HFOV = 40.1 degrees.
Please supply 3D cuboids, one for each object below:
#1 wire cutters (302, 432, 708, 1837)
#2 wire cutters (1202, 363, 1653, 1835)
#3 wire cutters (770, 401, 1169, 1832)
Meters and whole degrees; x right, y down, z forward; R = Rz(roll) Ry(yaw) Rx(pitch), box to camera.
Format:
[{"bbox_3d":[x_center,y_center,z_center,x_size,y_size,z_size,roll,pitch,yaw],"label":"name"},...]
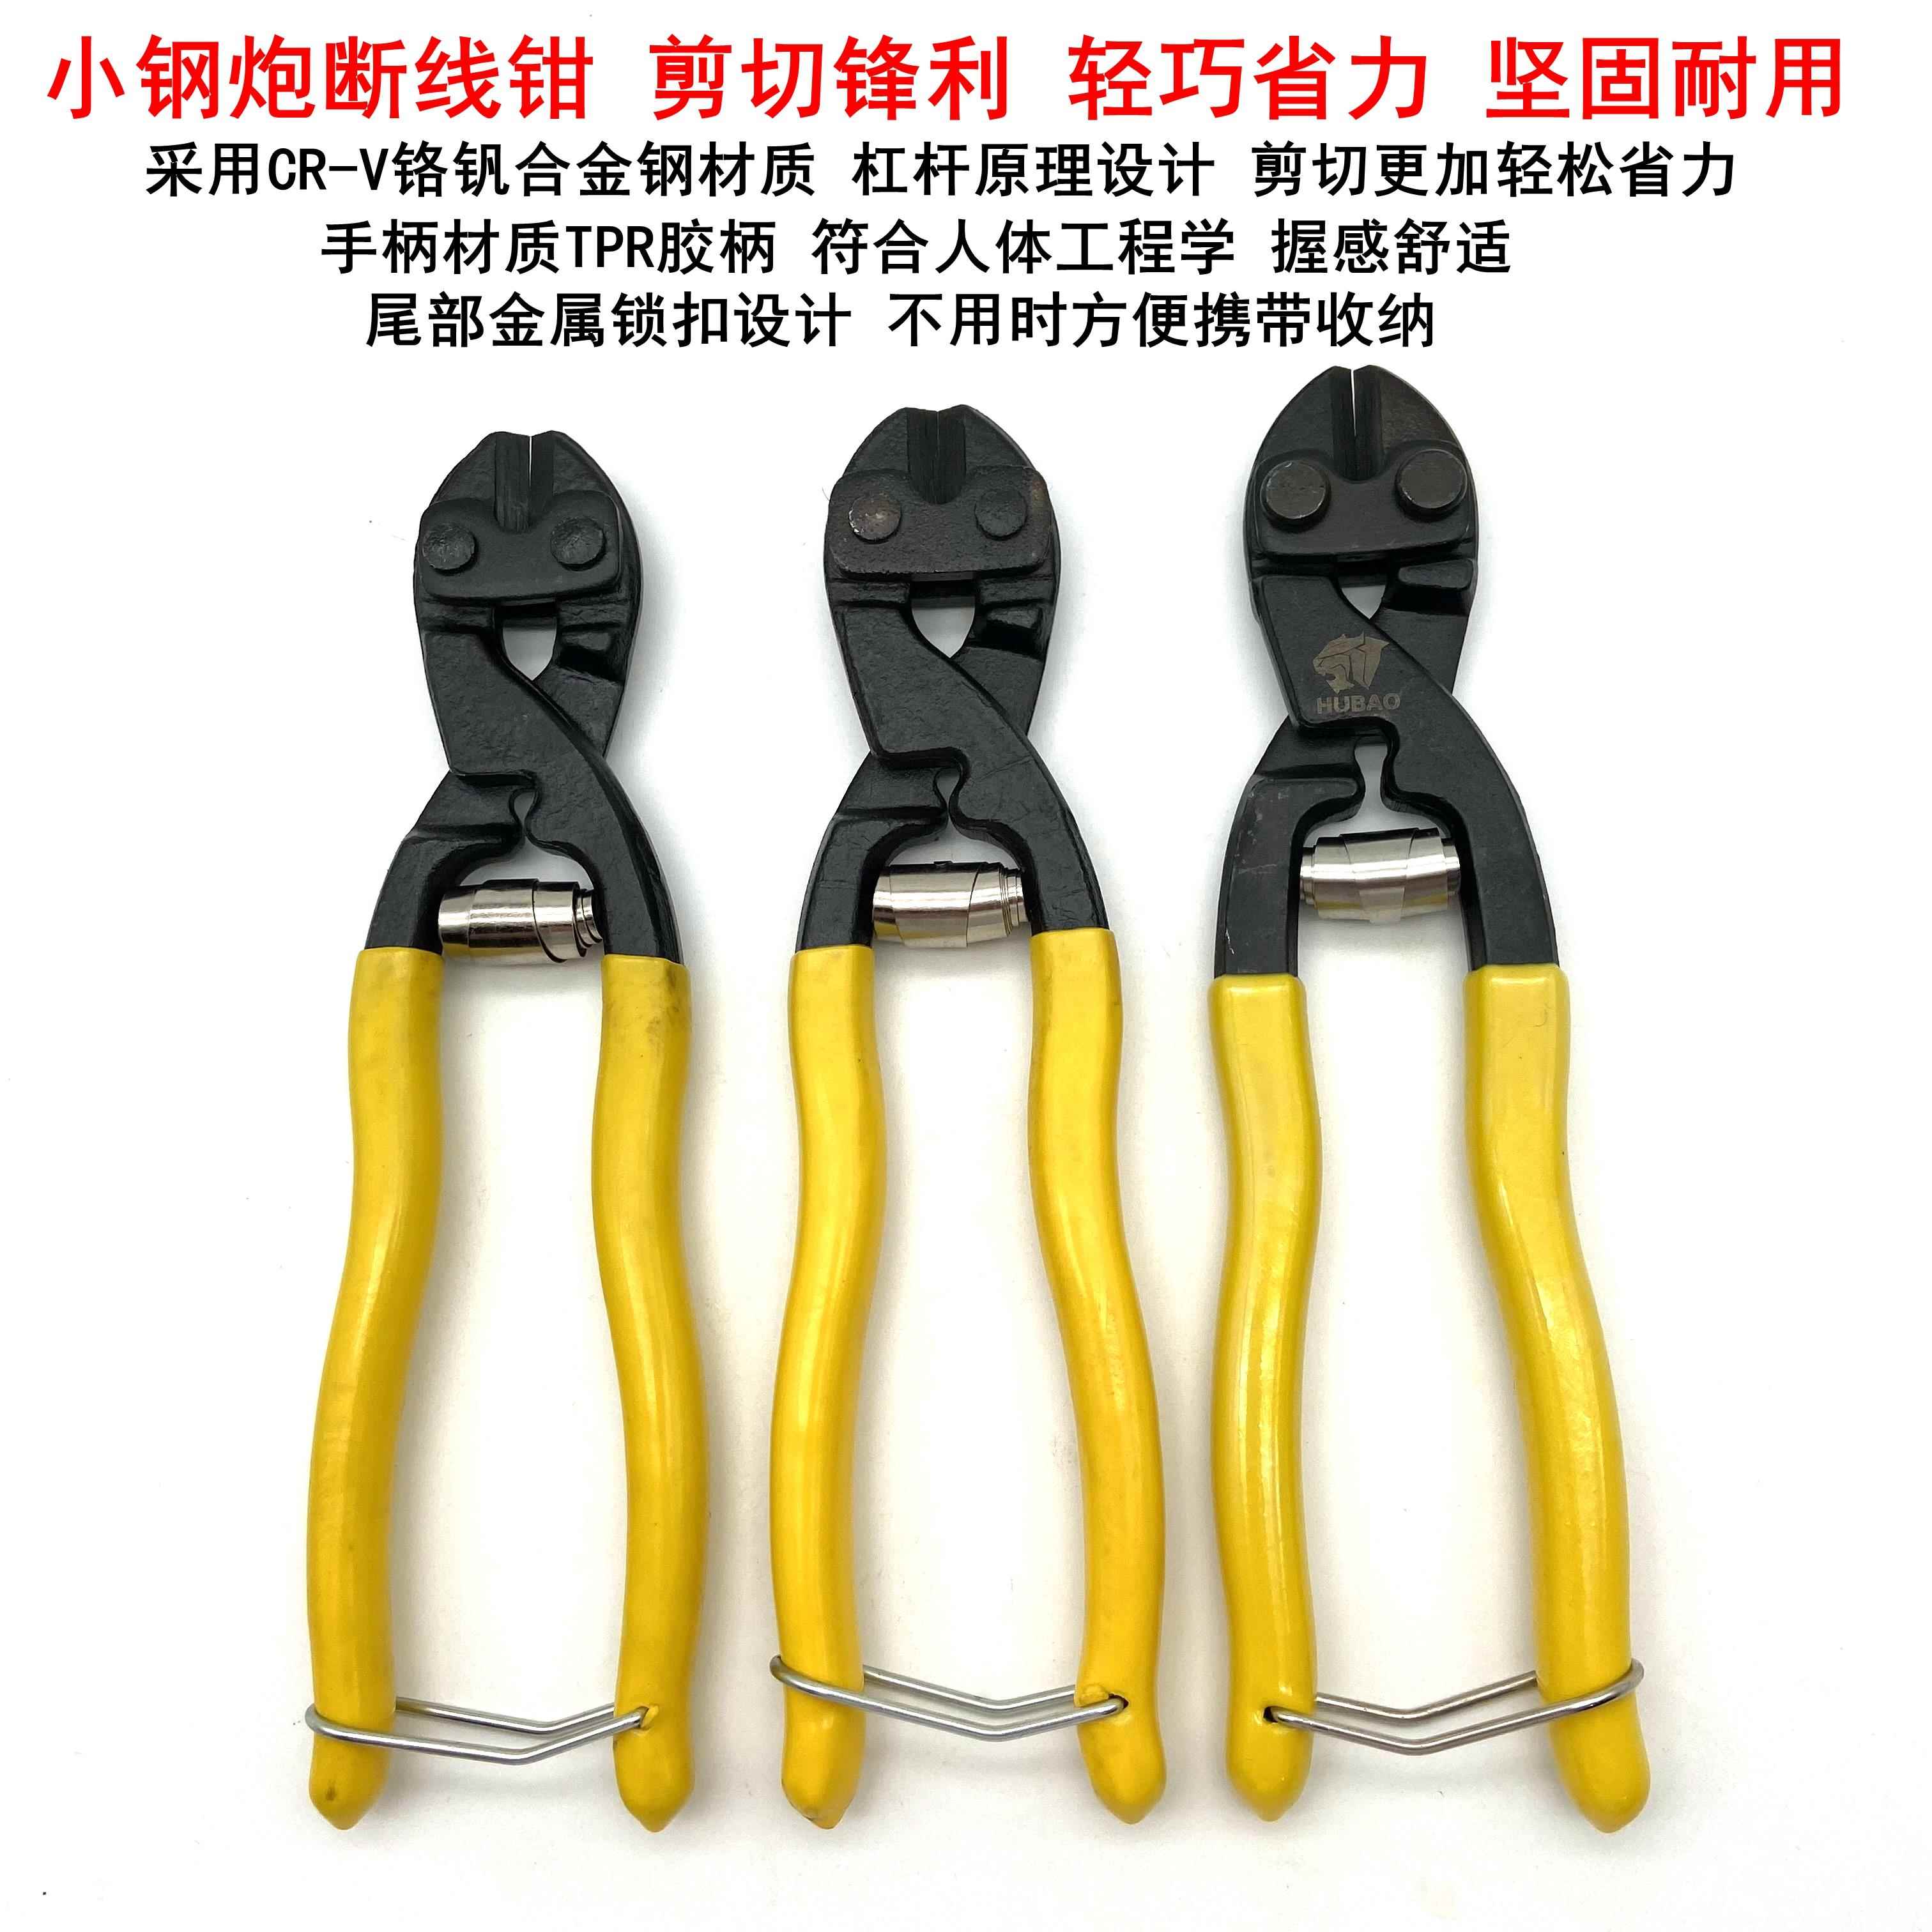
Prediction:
[{"bbox_3d":[-0.281,0.076,1.666,0.237,0.887,0.215,0,-3,-7],"label":"wire cutters"},{"bbox_3d":[0.277,0.054,1.642,0.247,0.918,0.187,-1,-3,7],"label":"wire cutters"},{"bbox_3d":[0.004,0.064,1.650,0.230,0.888,0.190,-1,-3,4],"label":"wire cutters"}]
